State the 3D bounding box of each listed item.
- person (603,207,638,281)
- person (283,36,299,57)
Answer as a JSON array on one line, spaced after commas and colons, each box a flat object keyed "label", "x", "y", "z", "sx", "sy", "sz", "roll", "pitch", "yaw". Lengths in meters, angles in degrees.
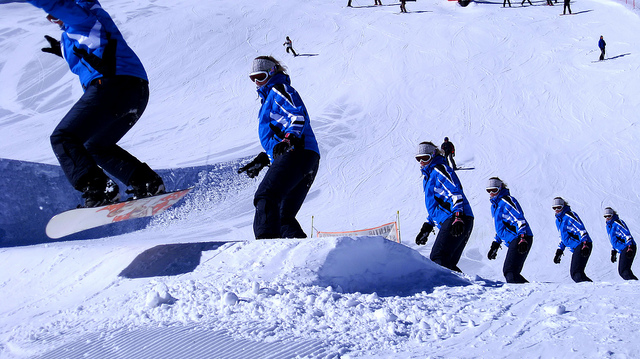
[{"label": "person", "x": 10.604, "y": 2.345, "z": 24.465, "sx": 0.847, "sy": 1.044, "sz": 2.382, "roll": -11, "pitch": 42, "yaw": -7}, {"label": "person", "x": -1.655, "y": -7.845, "z": 39.778, "sx": 0.576, "sy": 1.213, "sz": 0.831, "roll": -16, "pitch": 32, "yaw": -13}]
